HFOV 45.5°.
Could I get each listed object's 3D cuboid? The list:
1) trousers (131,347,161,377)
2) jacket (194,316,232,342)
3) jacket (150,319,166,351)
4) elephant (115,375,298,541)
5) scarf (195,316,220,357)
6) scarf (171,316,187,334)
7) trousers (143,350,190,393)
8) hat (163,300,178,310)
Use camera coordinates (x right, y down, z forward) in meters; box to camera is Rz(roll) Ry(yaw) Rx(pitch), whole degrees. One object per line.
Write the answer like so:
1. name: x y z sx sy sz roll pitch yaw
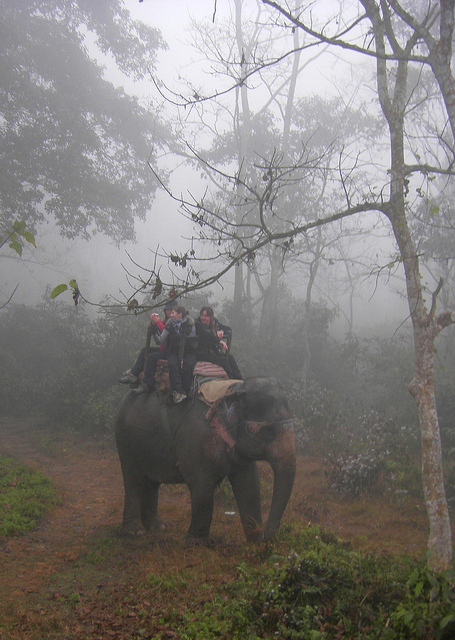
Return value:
1. trousers: -1.181 0.555 7.456 0.270 0.534 0.150 12 0 -3
2. jacket: -0.257 0.119 7.543 0.404 0.166 0.313 33 41 27
3. jacket: -0.933 0.171 7.362 0.203 0.346 0.314 0 7 -7
4. elephant: -0.342 1.692 7.046 2.212 2.645 1.177 2 10 14
5. scarf: -0.262 0.228 7.535 0.293 0.545 0.174 -5 -18 29
6. scarf: -0.672 0.048 7.276 0.128 0.231 0.077 4 -5 2
7. trousers: -0.721 0.558 7.158 0.382 0.696 0.166 7 6 31
8. hat: -0.766 -0.188 7.443 0.112 0.156 0.209 4 -4 32
